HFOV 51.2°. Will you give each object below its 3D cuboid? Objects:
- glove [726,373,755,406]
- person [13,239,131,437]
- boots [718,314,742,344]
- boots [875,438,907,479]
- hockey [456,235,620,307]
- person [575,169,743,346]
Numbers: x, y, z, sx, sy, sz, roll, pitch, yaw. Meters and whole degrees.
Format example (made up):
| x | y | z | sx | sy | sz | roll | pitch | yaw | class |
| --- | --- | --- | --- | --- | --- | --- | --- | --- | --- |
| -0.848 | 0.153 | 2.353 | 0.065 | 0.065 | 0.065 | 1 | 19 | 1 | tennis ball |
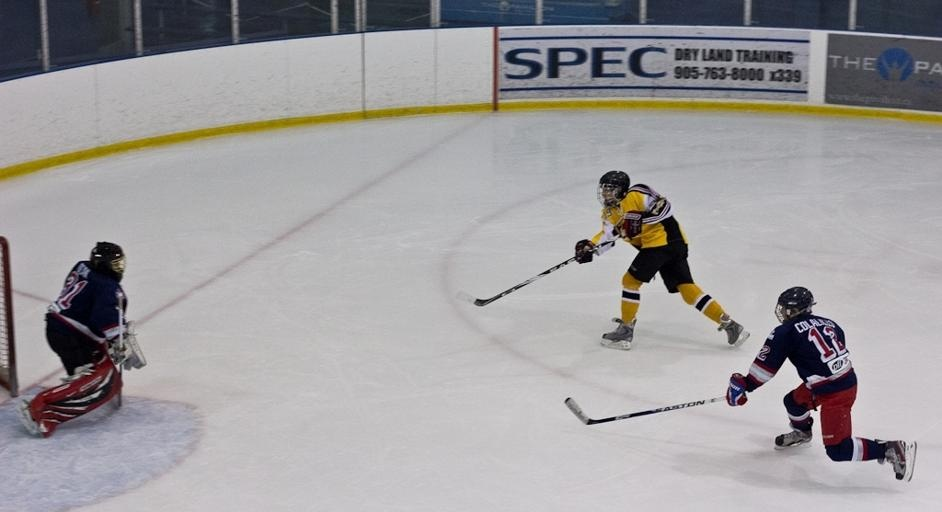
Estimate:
| x | y | z | sx | sy | sz | roll | pitch | yaw | class |
| --- | --- | --- | --- | --- | --- | --- | --- | --- | --- |
| 2.306 | 1.161 | 8.686 | 0.195 | 0.271 | 0.227 | 12 | 1 | 44 | glove |
| -3.579 | 0.738 | 8.959 | 0.914 | 1.710 | 0.486 | -3 | 13 | -21 | person |
| 2.571 | 0.733 | 9.815 | 0.194 | 0.369 | 0.141 | -7 | 46 | 25 | boots |
| 3.601 | 1.711 | 8.491 | 0.231 | 0.365 | 0.140 | -12 | 19 | 7 | boots |
| 0.747 | 0.198 | 10.971 | 1.513 | 0.161 | 0.161 | -27 | 42 | 17 | hockey |
| 1.823 | 0.046 | 9.885 | 1.554 | 1.738 | 0.410 | 2 | 12 | 2 | person |
